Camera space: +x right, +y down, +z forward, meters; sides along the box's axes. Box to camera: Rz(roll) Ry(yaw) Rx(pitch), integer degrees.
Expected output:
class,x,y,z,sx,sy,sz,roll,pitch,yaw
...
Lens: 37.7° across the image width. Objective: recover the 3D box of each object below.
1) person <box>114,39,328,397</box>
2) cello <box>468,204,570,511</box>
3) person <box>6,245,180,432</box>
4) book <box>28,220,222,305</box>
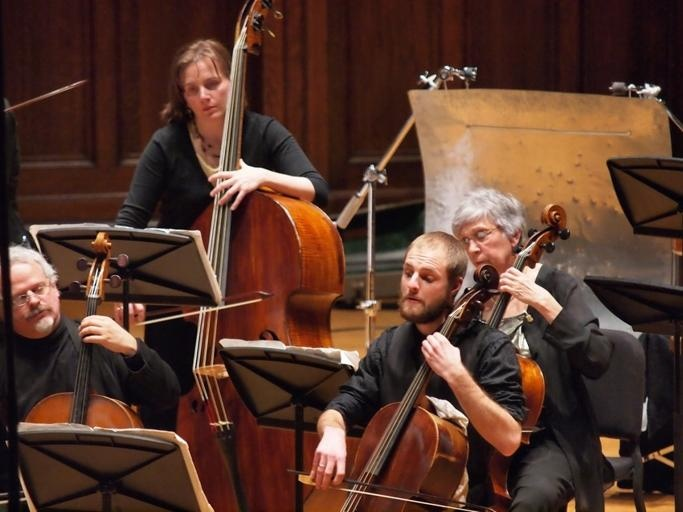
class,x,y,z,sx,sy,sz,roll,pitch,yaw
person,-0.389,0.074,4.779,1.016,0.766,2.074,-1,-5,1
cello,0.798,0.409,4.259,0.497,1.200,0.328,9,-2,32
person,-1.138,0.405,4.269,0.443,1.013,0.277,-1,4,3
book,-0.929,0.082,4.089,0.662,0.227,1.072,2,8,-14
